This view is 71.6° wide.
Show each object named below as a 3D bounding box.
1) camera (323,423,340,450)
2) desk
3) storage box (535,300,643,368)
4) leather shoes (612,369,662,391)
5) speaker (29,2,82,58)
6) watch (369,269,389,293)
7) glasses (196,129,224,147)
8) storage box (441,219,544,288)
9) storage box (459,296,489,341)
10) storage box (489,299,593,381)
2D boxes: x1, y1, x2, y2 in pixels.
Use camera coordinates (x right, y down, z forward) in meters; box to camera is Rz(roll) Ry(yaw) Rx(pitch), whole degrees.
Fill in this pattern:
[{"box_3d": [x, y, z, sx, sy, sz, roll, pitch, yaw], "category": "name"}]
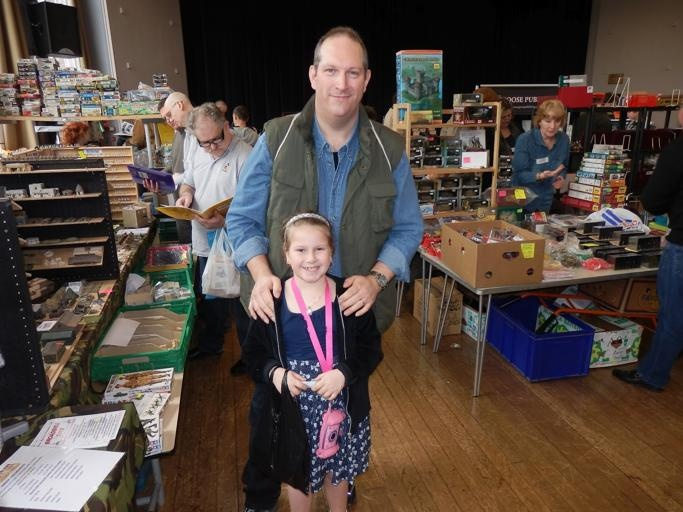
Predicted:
[{"box_3d": [-0.051, 0.820, 2.125, 0.078, 0.137, 0.048, 3, 4, -39], "category": "camera"}, {"box_3d": [1.443, 0.286, 3.904, 1.207, 0.897, 1.828, -1, 15, -10], "category": "desk"}, {"box_3d": [2.079, 0.641, 4.016, 0.624, 0.398, 0.628, -4, 15, -12], "category": "storage box"}, {"box_3d": [2.280, 0.959, 3.671, 0.307, 0.126, 0.114, 22, 16, 27], "category": "leather shoes"}, {"box_3d": [-3.953, -3.115, 6.526, 0.573, 0.691, 0.458, -12, 22, -30], "category": "speaker"}, {"box_3d": [0.170, 0.105, 2.114, 0.061, 0.100, 0.091, -44, 20, -23], "category": "watch"}, {"box_3d": [-0.944, -0.847, 3.424, 0.184, 0.127, 0.089, -5, 20, -13], "category": "glasses"}, {"box_3d": [1.107, -0.038, 3.573, 0.585, 0.341, 0.629, -5, 20, -13], "category": "storage box"}, {"box_3d": [1.225, 0.599, 4.396, 0.158, 0.274, 0.286, 0, 11, -3], "category": "storage box"}, {"box_3d": [1.573, 0.770, 4.008, 0.521, 0.370, 0.689, 21, 3, -15], "category": "storage box"}]
